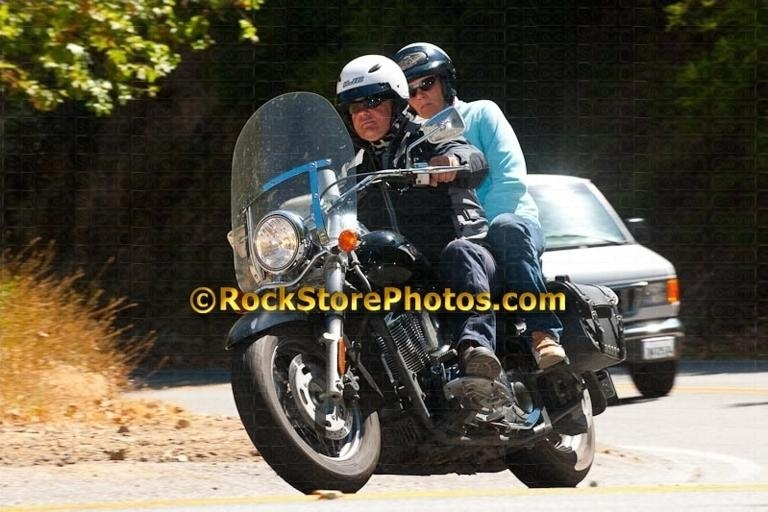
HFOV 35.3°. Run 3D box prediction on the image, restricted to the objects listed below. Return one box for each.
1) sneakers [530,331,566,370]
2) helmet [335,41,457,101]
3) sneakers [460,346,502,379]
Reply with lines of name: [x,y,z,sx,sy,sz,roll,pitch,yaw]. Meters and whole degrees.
sneakers: [1.064,0.606,7.846,0.193,0.089,0.276,-22,37,0]
helmet: [0.094,-1.203,7.797,0.737,0.268,0.464,-7,5,-34]
sneakers: [0.598,0.655,7.408,0.246,0.201,0.121,0,15,1]
